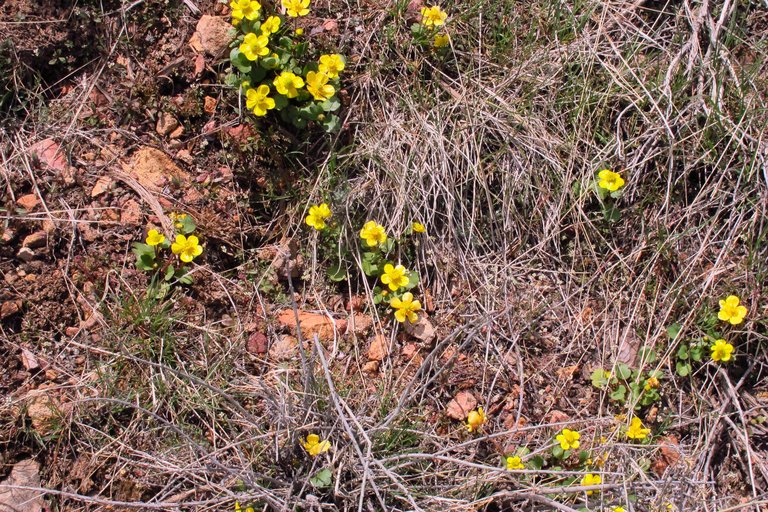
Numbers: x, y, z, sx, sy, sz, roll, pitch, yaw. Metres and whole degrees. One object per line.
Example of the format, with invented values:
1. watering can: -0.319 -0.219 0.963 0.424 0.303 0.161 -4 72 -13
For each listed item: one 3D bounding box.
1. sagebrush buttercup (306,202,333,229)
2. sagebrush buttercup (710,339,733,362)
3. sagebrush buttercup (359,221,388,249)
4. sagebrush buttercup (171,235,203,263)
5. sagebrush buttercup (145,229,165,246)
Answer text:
1. sagebrush buttercup: -0.364 -0.216 3.692 0.144 0.069 0.137 38 87 -26
2. sagebrush buttercup: 1.845 0.521 3.589 0.121 0.034 0.131 1 83 18
3. sagebrush buttercup: -0.061 -0.119 3.701 0.137 0.060 0.150 -1 74 -9
4. sagebrush buttercup: -1.066 -0.044 3.554 0.146 0.054 0.156 -15 84 -17
5. sagebrush buttercup: -1.225 -0.092 3.543 0.085 0.045 0.093 -28 82 -4
